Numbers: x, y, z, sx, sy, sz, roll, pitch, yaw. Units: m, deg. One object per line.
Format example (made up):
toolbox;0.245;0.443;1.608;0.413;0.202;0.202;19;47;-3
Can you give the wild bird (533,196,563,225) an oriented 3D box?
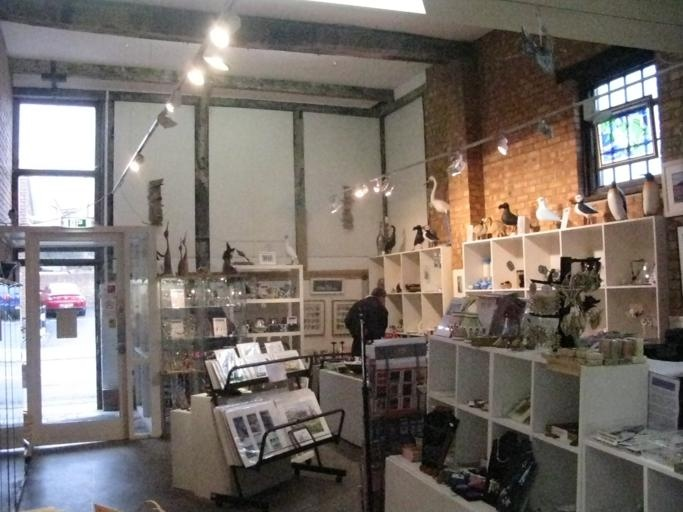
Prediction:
wild bird;2.735;-0.590;7.198;0.445;0.440;0.255;3;0;25

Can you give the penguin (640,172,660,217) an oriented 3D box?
penguin;3.397;-0.656;6.091;0.185;0.460;0.283;-3;-3;29

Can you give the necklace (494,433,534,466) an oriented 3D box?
necklace;1.183;1.383;3.909;0.225;0.237;0.084;12;6;-5

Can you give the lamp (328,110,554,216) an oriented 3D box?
lamp;1.615;-1.514;9.160;4.476;0.541;0.360;-28;17;-14

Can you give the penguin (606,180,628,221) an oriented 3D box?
penguin;3.114;-0.609;6.276;0.191;0.467;0.311;-3;-3;27
